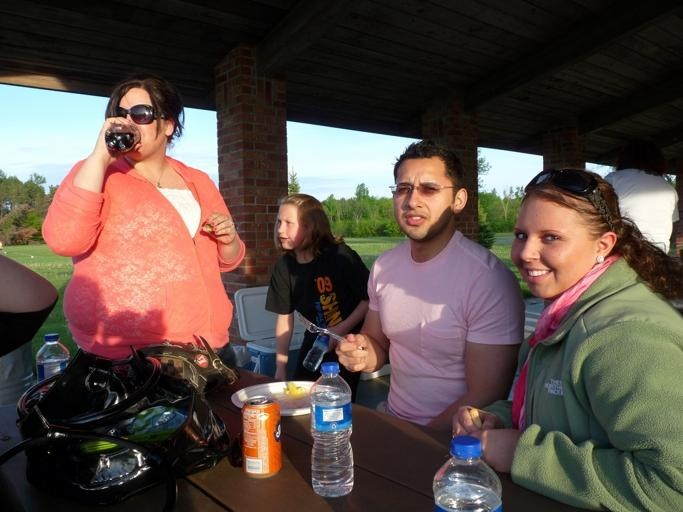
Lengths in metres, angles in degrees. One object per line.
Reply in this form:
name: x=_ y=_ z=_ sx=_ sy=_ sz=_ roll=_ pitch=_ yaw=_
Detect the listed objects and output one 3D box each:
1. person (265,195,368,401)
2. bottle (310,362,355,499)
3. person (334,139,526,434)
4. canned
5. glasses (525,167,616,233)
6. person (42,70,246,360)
person: x=-0.196 y=0.165 z=3.065 sx=0.699 sy=1.562 sz=0.697 roll=-2 pitch=12 yaw=-35
bottle: x=-0.030 y=0.543 z=1.349 sx=0.137 sy=0.382 sz=0.143 roll=-2 pitch=-1 yaw=0
person: x=0.449 y=0.255 z=2.094 sx=0.569 sy=1.849 sz=0.787 roll=-1 pitch=0 yaw=-29
canned: x=-0.230 y=0.543 z=1.307 sx=0.127 sy=0.225 sz=0.120 roll=0 pitch=-4 yaw=3
glasses: x=0.783 y=-0.253 z=1.463 sx=0.257 sy=0.071 sz=0.233 roll=35 pitch=12 yaw=36
person: x=-0.923 y=-0.107 z=1.993 sx=0.682 sy=1.329 sz=0.623 roll=-6 pitch=17 yaw=-41
